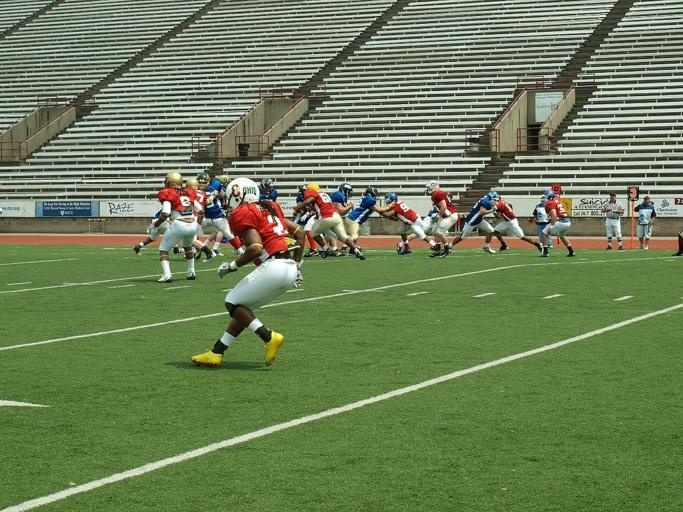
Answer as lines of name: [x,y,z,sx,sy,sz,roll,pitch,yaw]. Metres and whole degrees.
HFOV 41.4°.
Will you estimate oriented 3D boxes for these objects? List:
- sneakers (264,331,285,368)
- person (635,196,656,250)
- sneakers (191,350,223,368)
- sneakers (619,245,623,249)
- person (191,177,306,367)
sneakers: [-0.637,0.910,8.461,0.162,0.367,0.133,14,33,1]
person: [8.211,-0.896,24.520,0.451,1.310,1.182,0,0,17]
sneakers: [-1.242,0.970,8.466,0.303,0.174,0.125,4,31,4]
sneakers: [7.513,-0.218,24.386,0.079,0.058,0.134,1,9,0]
person: [-0.967,0.161,8.831,1.125,1.851,0.834,-2,-8,16]
